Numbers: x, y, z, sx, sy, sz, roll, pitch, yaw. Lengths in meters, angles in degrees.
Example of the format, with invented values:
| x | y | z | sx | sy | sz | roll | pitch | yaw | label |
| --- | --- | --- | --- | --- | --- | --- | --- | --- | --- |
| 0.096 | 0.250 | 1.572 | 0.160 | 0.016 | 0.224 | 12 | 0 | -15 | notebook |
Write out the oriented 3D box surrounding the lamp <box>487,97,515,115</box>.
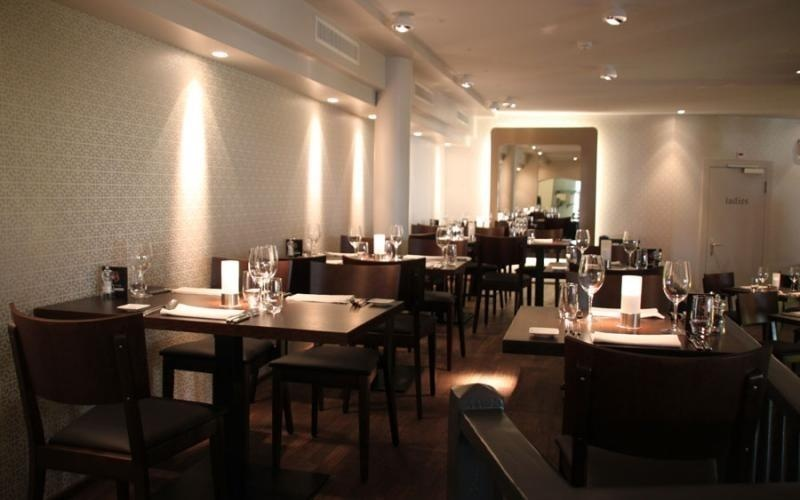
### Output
| x | y | z | sx | sy | sz | roll | pitch | yaw | label |
| --- | --- | --- | --- | --- | --- | --- | --- | --- | --- |
| 1.799 | -2.551 | 9.804 | 0.434 | 0.126 | 0.410 | 1 | -4 | -40 | lamp |

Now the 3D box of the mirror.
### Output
| x | y | z | sx | sy | sz | roll | pitch | yaw | label |
| --- | --- | --- | --- | --- | --- | --- | --- | --- | --- |
| 2.800 | -1.408 | 10.734 | 2.255 | 2.428 | 0.176 | 3 | 5 | 22 | mirror |

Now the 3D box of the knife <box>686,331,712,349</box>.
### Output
| x | y | z | sx | sy | sz | roll | pitch | yaw | label |
| --- | --- | --- | --- | --- | --- | --- | --- | --- | --- |
| 1.546 | 0.475 | 2.880 | 0.086 | 0.021 | 0.081 | -4 | 9 | -6 | knife |

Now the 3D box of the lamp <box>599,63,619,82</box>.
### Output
| x | y | z | sx | sy | sz | roll | pitch | yaw | label |
| --- | --- | --- | --- | --- | --- | --- | --- | --- | --- |
| 2.690 | -2.353 | 7.226 | 0.300 | 0.210 | 0.301 | -3 | -6 | 22 | lamp |

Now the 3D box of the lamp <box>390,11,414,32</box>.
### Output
| x | y | z | sx | sy | sz | roll | pitch | yaw | label |
| --- | --- | --- | --- | --- | --- | --- | --- | --- | --- |
| 0.022 | -2.321 | 5.668 | 0.187 | 0.137 | 0.186 | -1 | 5 | 9 | lamp |

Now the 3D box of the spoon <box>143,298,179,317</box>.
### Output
| x | y | z | sx | sy | sz | roll | pitch | yaw | label |
| --- | --- | --- | --- | --- | --- | --- | --- | --- | --- |
| -1.369 | 0.339 | 3.215 | 0.310 | 0.083 | 0.052 | -11 | -19 | 30 | spoon |
